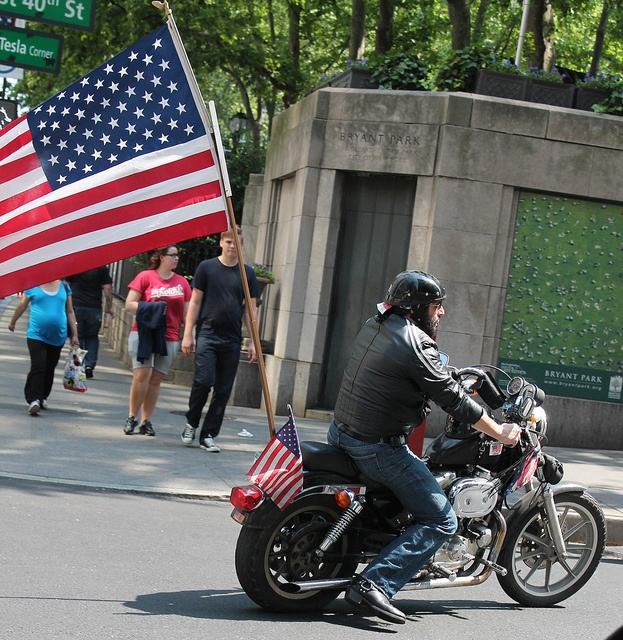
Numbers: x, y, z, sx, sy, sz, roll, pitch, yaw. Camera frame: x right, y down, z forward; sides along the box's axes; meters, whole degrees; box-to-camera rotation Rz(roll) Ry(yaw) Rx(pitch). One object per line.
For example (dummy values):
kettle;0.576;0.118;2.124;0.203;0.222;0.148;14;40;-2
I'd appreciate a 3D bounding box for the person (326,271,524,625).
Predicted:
person;0.513;0.680;5.012;0.905;1.339;0.534;10;5;15

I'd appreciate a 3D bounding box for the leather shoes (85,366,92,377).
leather shoes;-3.126;0.737;12.884;0.100;0.096;0.251;2;5;2

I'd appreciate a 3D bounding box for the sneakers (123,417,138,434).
sneakers;-1.775;1.036;8.994;0.098;0.095;0.227;4;18;2

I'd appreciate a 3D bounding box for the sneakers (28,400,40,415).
sneakers;-2.792;0.897;9.242;0.083;0.079;0.204;0;-1;-8

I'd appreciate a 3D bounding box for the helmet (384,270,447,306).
helmet;0.578;-0.172;5.179;0.286;0.151;0.207;7;-1;-7

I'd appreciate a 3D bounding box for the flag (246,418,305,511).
flag;-0.165;0.745;4.951;0.317;0.346;0.275;11;5;28

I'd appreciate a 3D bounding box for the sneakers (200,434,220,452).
sneakers;-0.972;1.204;8.735;0.095;0.092;0.262;4;-5;-31
